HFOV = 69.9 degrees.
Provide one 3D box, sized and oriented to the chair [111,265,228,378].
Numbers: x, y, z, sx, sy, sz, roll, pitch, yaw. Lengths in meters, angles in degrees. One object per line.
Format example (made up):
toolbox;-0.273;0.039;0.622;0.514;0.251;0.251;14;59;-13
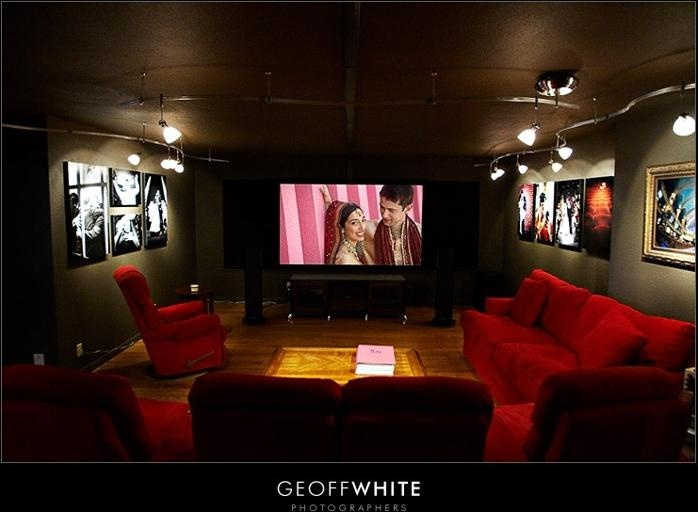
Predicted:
chair;-1.700;0.566;4.817;0.970;1.058;0.893;-13;14;-38

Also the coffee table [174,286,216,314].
coffee table;-1.836;0.462;6.000;0.366;0.382;0.376;3;6;40

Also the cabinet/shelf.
cabinet/shelf;0.000;0.670;6.862;1.547;0.638;0.480;0;-16;6

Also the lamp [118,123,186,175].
lamp;-2.047;-1.141;5.574;0.699;0.372;0.714;21;22;41

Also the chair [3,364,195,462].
chair;-1.195;0.667;2.578;0.612;0.698;0.678;-1;-6;18
